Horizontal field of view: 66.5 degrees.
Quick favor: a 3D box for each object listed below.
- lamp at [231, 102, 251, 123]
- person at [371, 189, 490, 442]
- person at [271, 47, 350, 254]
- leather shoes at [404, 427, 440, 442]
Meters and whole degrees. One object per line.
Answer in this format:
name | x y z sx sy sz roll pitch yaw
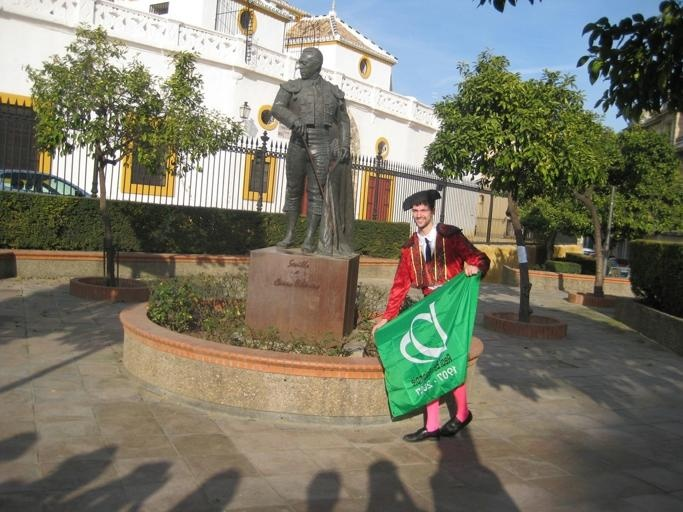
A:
lamp | -4.344 -6.611 23.495 0.595 0.929 1.283 3 5 -11
person | 0.953 0.544 5.245 1.112 2.607 0.848 -6 -17 15
person | -0.349 -1.499 7.189 1.125 2.797 0.836 4 5 0
leather shoes | 0.803 1.793 5.248 0.341 0.164 0.142 3 -7 -4
